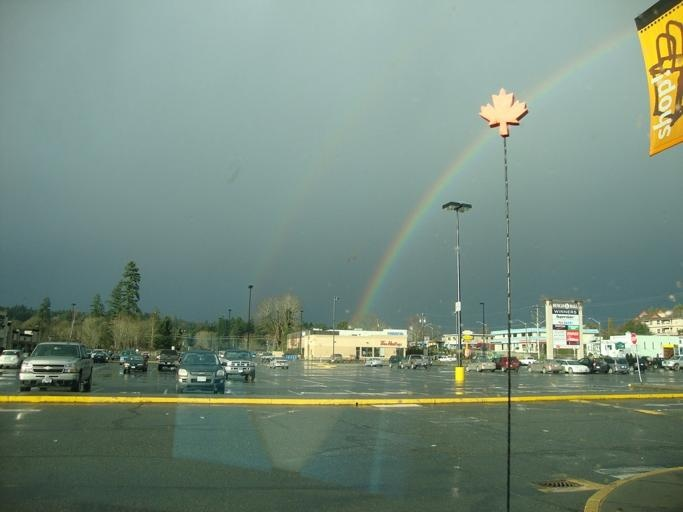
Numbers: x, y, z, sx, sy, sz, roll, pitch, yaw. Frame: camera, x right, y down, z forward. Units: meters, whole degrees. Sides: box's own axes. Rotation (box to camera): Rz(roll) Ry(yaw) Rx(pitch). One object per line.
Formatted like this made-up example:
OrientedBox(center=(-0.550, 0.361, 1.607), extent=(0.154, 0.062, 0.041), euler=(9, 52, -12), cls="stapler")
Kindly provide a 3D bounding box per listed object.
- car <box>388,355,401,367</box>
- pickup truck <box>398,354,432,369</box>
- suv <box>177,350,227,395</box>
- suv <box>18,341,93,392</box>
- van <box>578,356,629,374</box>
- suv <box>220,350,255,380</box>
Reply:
OrientedBox(center=(6.910, 13.906, 89.031), extent=(1.585, 1.815, 1.825), euler=(-1, -7, 10), cls="car")
OrientedBox(center=(7.859, 11.257, 72.423), extent=(1.735, 1.254, 3.539), euler=(3, -3, -19), cls="pickup truck")
OrientedBox(center=(-5.676, 4.675, 27.760), extent=(1.138, 1.191, 2.480), euler=(1, -14, -7), cls="suv")
OrientedBox(center=(-10.809, 4.288, 26.874), extent=(1.647, 1.429, 3.031), euler=(0, -13, -6), cls="suv")
OrientedBox(center=(22.668, 9.419, 58.611), extent=(2.873, 0.966, 1.896), euler=(-2, -11, 16), cls="van")
OrientedBox(center=(-5.908, 6.328, 39.403), extent=(1.494, 1.658, 3.269), euler=(2, -13, -12), cls="suv")
